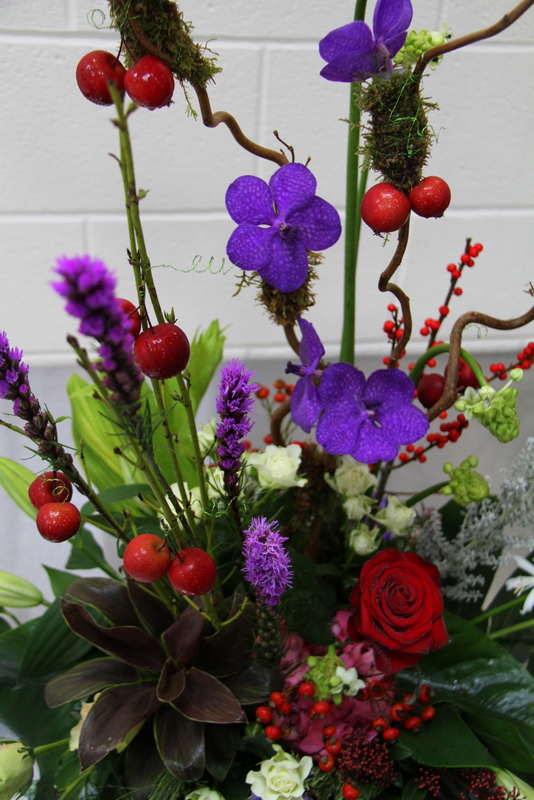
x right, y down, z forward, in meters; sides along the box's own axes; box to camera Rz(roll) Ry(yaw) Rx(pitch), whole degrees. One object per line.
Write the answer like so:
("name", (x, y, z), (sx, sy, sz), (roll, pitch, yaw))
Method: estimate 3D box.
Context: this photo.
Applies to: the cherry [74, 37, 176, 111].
("cherry", (-0.069, -0.160, 0.387), (0.051, 0.023, 0.026), (0, 54, -5))
